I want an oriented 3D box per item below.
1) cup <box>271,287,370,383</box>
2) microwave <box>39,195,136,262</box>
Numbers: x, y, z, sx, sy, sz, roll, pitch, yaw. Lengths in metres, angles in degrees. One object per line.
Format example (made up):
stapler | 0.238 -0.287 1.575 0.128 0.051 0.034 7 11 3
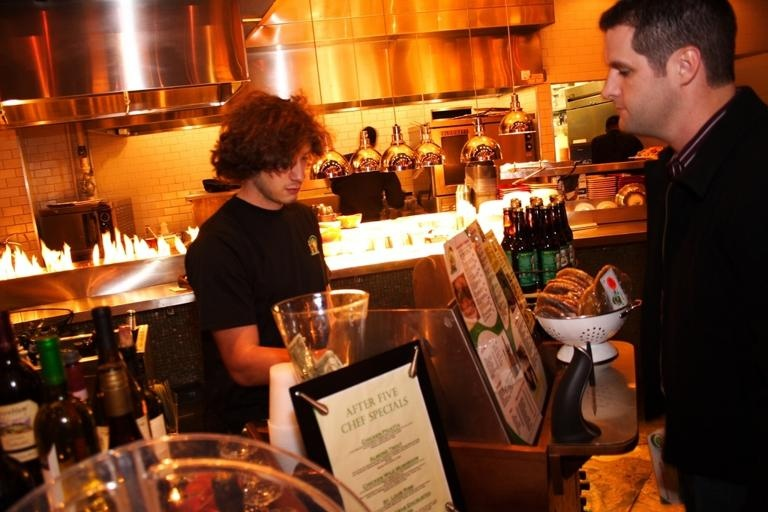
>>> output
cup | -0.151 0.160 1.375 0.220 0.209 0.202 -8 4 1
microwave | -3.615 -0.334 7.070 0.914 0.571 0.968 -7 10 -5
